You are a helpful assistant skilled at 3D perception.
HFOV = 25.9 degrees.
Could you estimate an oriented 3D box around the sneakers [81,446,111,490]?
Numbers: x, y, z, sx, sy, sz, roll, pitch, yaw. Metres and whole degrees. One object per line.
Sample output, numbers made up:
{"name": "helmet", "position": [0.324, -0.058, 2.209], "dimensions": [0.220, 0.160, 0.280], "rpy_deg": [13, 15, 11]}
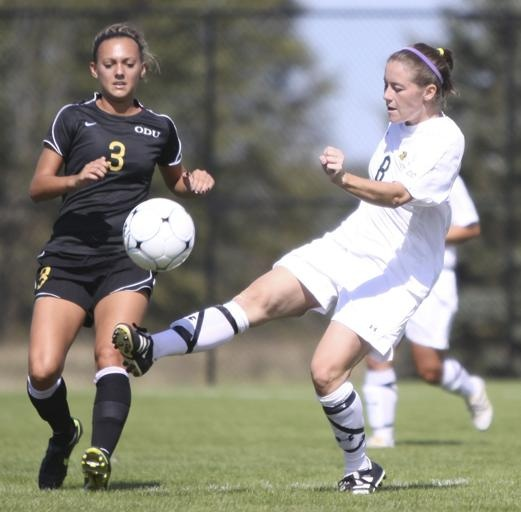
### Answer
{"name": "sneakers", "position": [-0.828, 1.070, 5.758], "dimensions": [0.120, 0.266, 0.135], "rpy_deg": [2, 32, -2]}

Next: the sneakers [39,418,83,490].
{"name": "sneakers", "position": [-1.092, 1.082, 6.126], "dimensions": [0.150, 0.402, 0.187], "rpy_deg": [18, -6, -2]}

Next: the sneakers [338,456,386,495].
{"name": "sneakers", "position": [0.573, 1.168, 5.993], "dimensions": [0.284, 0.122, 0.107], "rpy_deg": [-34, 12, -34]}

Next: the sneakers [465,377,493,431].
{"name": "sneakers", "position": [1.514, 1.036, 7.823], "dimensions": [0.156, 0.383, 0.165], "rpy_deg": [-17, -6, 31]}

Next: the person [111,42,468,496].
{"name": "person", "position": [0.318, 0.013, 6.005], "dimensions": [1.373, 2.131, 0.581], "rpy_deg": [7, 2, 1]}
